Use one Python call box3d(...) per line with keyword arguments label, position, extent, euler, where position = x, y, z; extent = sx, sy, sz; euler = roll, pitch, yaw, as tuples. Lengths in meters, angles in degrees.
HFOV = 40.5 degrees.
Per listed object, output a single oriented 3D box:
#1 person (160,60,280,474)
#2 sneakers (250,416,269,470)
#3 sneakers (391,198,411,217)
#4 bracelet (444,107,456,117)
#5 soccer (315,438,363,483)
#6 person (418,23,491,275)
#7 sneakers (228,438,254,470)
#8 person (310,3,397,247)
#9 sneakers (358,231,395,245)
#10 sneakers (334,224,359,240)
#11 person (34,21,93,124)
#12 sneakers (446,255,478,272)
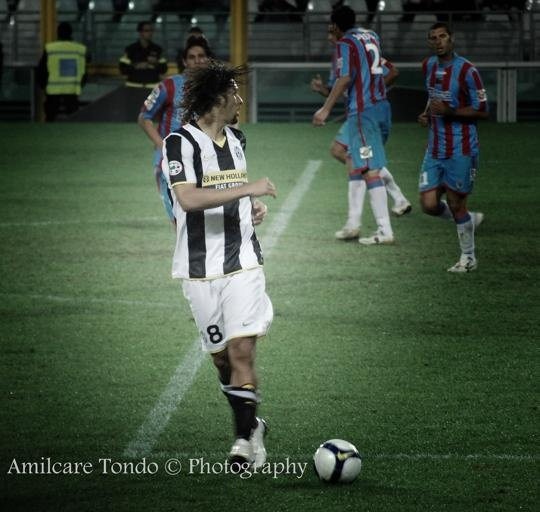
box3d(label="person", position=(-0.194, 0.036, 2.989), extent=(0.462, 1.611, 0.813), euler=(-2, 15, -4))
box3d(label="sneakers", position=(-0.029, 0.760, 2.941), extent=(0.067, 0.081, 0.185), euler=(-1, 32, 4))
box3d(label="sneakers", position=(1.335, -0.493, 7.564), extent=(0.134, 0.102, 0.225), euler=(-17, -2, -38))
box3d(label="bracelet", position=(1.399, -1.112, 5.666), extent=(0.075, 0.056, 0.056), euler=(4, -6, -13))
box3d(label="soccer", position=(0.255, 0.787, 2.823), extent=(0.150, 0.132, 0.174), euler=(10, -9, -6))
box3d(label="person", position=(1.475, -0.844, 5.908), extent=(0.529, 1.979, 0.502), euler=(3, 16, 15))
box3d(label="sneakers", position=(-0.112, 0.744, 2.764), extent=(0.054, 0.063, 0.151), euler=(0, 1, 7))
box3d(label="person", position=(0.831, -1.161, 6.701), extent=(0.639, 2.184, 0.762), euler=(1, 15, 8))
box3d(label="sneakers", position=(1.018, -0.162, 6.956), extent=(0.362, 0.139, 0.128), euler=(1, 0, 17))
box3d(label="sneakers", position=(0.744, -0.226, 7.110), extent=(0.229, 0.091, 0.119), euler=(6, 39, 21))
box3d(label="person", position=(-3.974, -3.494, 13.801), extent=(0.878, 1.624, 1.375), euler=(-6, 15, -16))
box3d(label="sneakers", position=(1.579, 0.069, 6.028), extent=(0.268, 0.110, 0.111), euler=(-4, 1, -33))
